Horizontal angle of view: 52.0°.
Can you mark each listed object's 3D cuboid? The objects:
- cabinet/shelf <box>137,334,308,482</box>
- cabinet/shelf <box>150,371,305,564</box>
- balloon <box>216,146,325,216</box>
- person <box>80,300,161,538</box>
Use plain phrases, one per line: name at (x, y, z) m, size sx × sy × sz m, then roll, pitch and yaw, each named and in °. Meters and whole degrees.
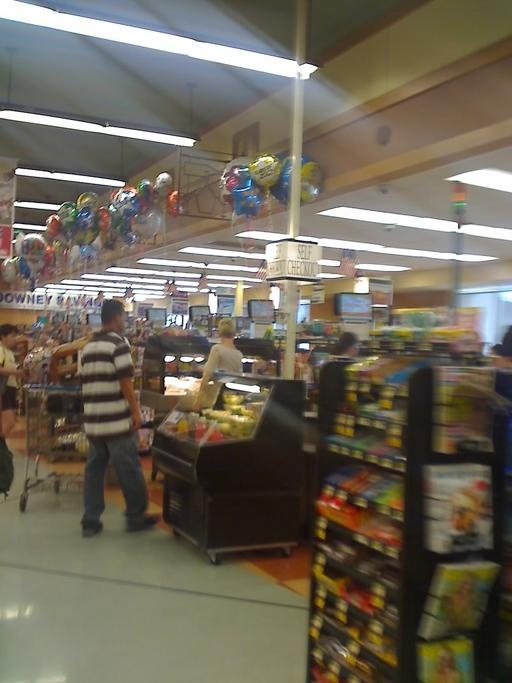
cabinet/shelf at (-0.580, 0.620, 5.742) m, size 1.570 × 1.380 × 0.908 m, roll 7°, pitch -18°, yaw -4°
cabinet/shelf at (-0.176, 0.757, 3.910) m, size 1.094 × 1.491 × 1.162 m, roll 3°, pitch -3°, yaw -21°
balloon at (0.157, -1.461, 4.636) m, size 0.836 × 0.735 × 0.773 m, roll -2°, pitch -3°, yaw -9°
person at (-1.006, 0.543, 3.724) m, size 0.469 × 1.670 × 0.425 m, roll -3°, pitch -4°, yaw -6°
